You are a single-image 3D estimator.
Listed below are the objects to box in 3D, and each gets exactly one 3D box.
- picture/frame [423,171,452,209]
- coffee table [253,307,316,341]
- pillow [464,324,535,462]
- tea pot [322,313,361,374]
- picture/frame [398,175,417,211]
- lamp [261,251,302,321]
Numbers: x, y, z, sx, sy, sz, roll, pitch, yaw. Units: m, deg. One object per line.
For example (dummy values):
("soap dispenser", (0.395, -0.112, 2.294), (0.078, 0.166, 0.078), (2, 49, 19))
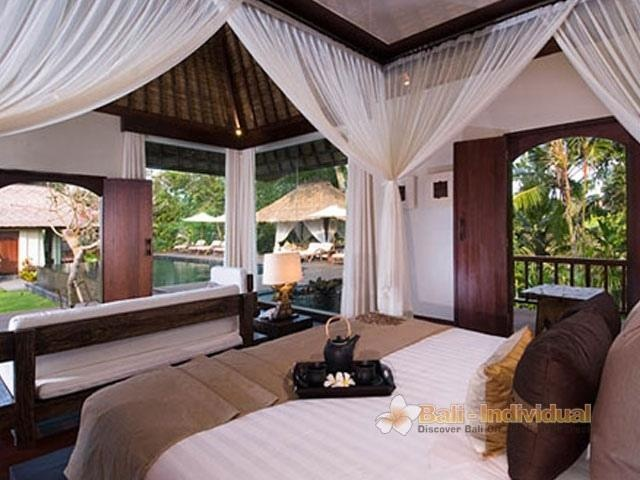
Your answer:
("picture/frame", (1.299, -0.562, 4.716), (0.313, 0.338, 0.324), (3, 4, 39))
("coffee table", (-0.332, 0.837, 4.293), (0.366, 0.095, 0.389), (-4, 6, -43))
("pillow", (0.793, 0.699, 1.901), (0.161, 0.373, 0.484), (8, 5, 26))
("tea pot", (0.113, 0.604, 2.459), (0.264, 0.323, 0.171), (-9, 4, 30))
("picture/frame", (0.979, -0.547, 5.002), (0.062, 0.308, 0.313), (-22, 32, -3))
("lamp", (-0.355, 0.438, 4.202), (0.365, 0.658, 0.412), (-2, 4, 15))
